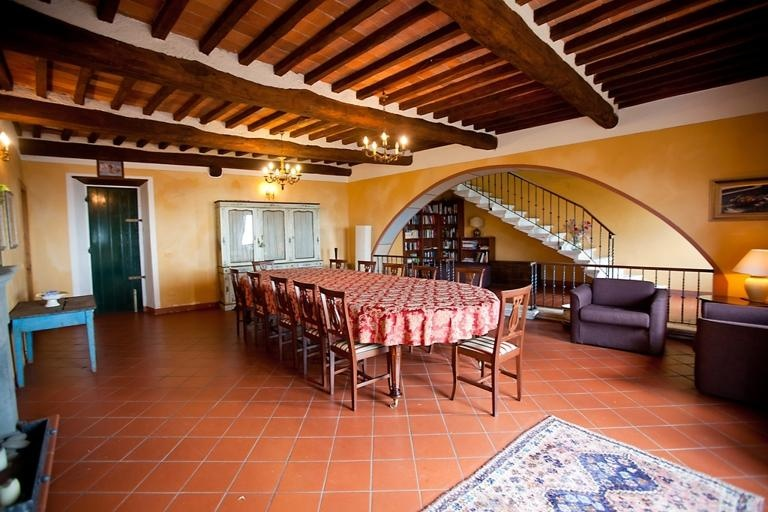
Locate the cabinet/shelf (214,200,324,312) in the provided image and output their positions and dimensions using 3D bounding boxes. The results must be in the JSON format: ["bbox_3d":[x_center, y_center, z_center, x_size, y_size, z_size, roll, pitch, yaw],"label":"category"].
[{"bbox_3d":[-2.132,-0.038,8.230,2.342,1.979,0.592,-6,12,-27],"label":"cabinet/shelf"}]

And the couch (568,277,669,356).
[{"bbox_3d":[3.466,0.881,6.794,1.393,1.020,1.109,0,-1,40],"label":"couch"}]

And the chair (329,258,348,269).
[{"bbox_3d":[-0.900,0.142,9.188,0.282,0.366,0.265,1,1,18],"label":"chair"}]

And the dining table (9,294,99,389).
[{"bbox_3d":[-4.268,1.047,6.085,0.884,0.968,1.067,-4,5,-36],"label":"dining table"}]

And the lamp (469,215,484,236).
[{"bbox_3d":[2.422,-0.783,12.312,0.378,0.507,0.335,0,5,21],"label":"lamp"}]
